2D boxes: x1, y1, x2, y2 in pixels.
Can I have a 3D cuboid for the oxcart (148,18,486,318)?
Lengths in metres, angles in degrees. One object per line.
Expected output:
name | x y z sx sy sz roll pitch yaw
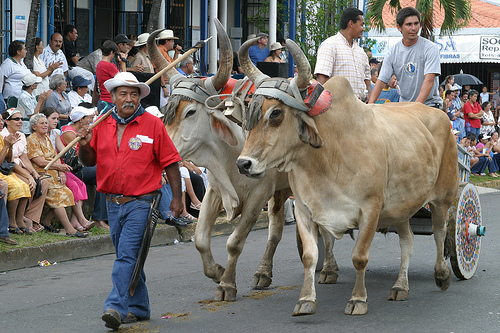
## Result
oxcart | 1.445 0.369 12.602 1.757 3.608 5.257 -2 -4 37

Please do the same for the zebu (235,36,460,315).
zebu | 1.294 -0.018 12.365 2.267 3.271 5.487 3 15 12

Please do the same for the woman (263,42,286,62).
woman | 0.556 -2.964 22.477 0.603 0.385 0.840 -1 -3 -45

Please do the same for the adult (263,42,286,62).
adult | 0.564 -2.990 22.603 0.603 0.385 0.840 -1 -3 -45
